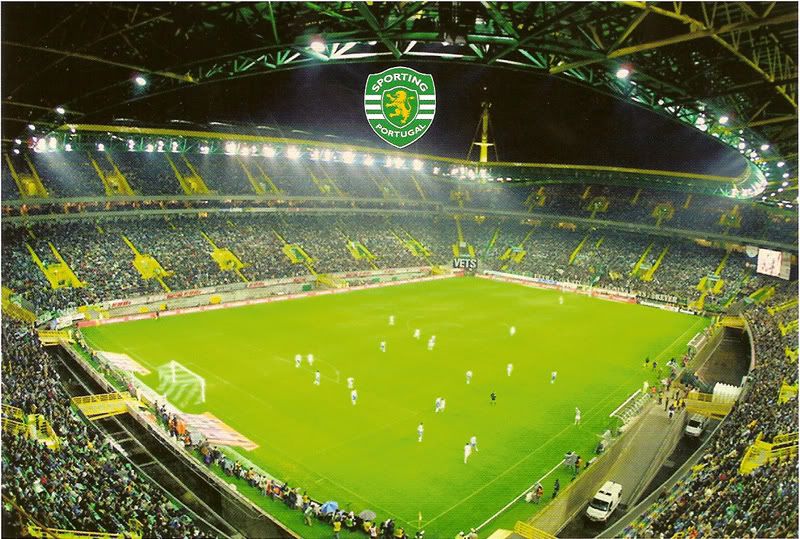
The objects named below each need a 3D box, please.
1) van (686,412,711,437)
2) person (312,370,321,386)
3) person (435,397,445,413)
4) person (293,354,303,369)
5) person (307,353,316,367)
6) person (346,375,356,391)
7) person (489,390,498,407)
[{"bbox_3d":[21.127,11.003,46.906,0.980,0.775,2.128,-1,0,43],"label":"van"},{"bbox_3d":[-6.181,7.870,49.294,0.476,1.280,1.605,-2,30,-7],"label":"person"},{"bbox_3d":[2.805,9.533,46.438,0.802,0.995,1.033,-4,-3,15],"label":"person"},{"bbox_3d":[-8.023,7.115,52.204,0.540,0.905,1.735,-4,30,-10],"label":"person"},{"bbox_3d":[-6.986,7.122,52.130,0.611,0.880,0.924,10,14,42],"label":"person"},{"bbox_3d":[-3.632,8.393,48.478,0.720,0.425,0.949,-1,11,-3],"label":"person"},{"bbox_3d":[6.854,9.078,47.890,0.602,1.195,1.556,7,30,8],"label":"person"}]
